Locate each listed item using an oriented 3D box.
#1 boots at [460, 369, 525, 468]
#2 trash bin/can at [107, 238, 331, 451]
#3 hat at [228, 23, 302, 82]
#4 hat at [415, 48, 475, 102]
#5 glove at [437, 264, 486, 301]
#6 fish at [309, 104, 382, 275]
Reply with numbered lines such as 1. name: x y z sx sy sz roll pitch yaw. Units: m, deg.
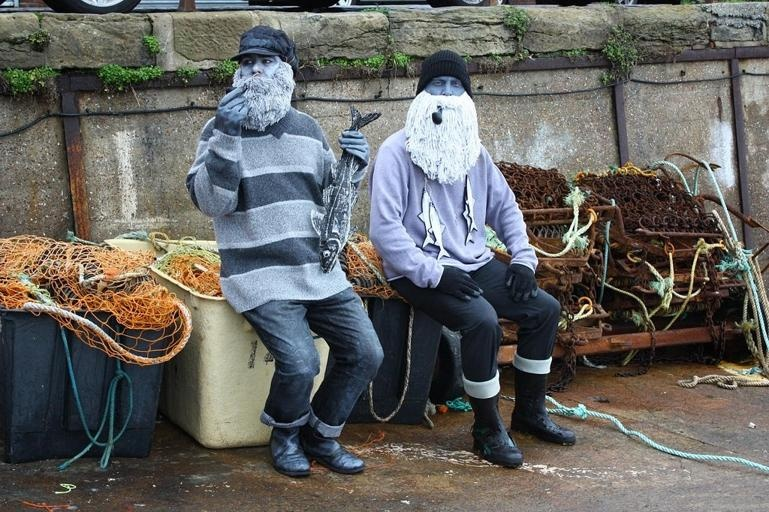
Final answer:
1. boots: 0.720 1.135 6.200 0.479 0.595 0.466 0 -2 0
2. trash bin/can: -1.181 0.629 6.888 1.632 1.385 1.529 -2 0 -22
3. hat: -0.786 -1.404 6.031 0.303 0.189 0.414 -13 -19 35
4. hat: 0.439 -1.354 6.580 0.359 0.241 0.338 2 -11 -3
5. glove: 0.528 0.199 6.164 0.331 0.173 0.090 24 -9 6
6. fish: -0.324 -0.427 6.175 0.387 1.206 0.366 14 -8 29
